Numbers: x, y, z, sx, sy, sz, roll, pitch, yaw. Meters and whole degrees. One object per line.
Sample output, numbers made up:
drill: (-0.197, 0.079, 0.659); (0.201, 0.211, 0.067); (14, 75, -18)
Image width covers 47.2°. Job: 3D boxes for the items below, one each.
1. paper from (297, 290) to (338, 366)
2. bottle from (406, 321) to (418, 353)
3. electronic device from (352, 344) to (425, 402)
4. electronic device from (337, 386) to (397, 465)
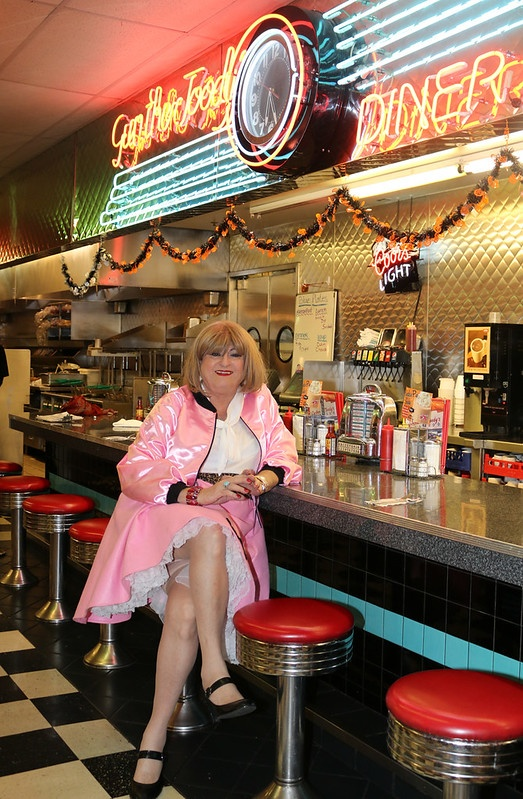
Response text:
paper: (0.533, -0.694, 5.794); (0.276, 0.708, 0.663); (2, -3, -13)
bottle: (1.116, -0.435, 4.438); (0.072, 0.179, 0.288); (0, -3, 17)
electronic device: (0.920, -0.193, 4.205); (0.233, 0.445, 0.457); (1, -1, -29)
electronic device: (0.461, 0.107, 2.629); (0.183, 0.328, 0.224); (1, 2, -42)
